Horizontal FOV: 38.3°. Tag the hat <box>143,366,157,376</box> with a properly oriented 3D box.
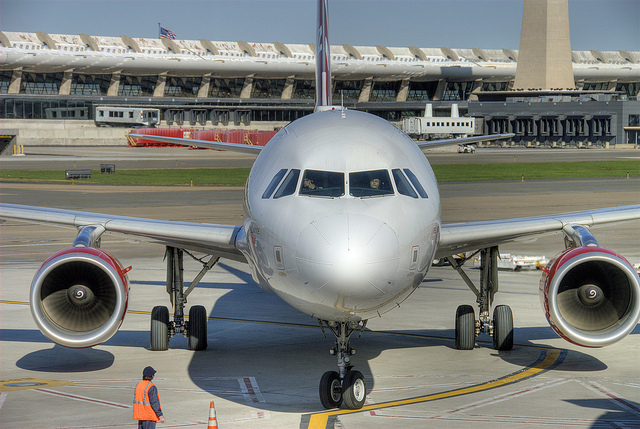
[{"bbox_3d":[-4.086,3.705,21.951,0.237,0.171,0.296,-1,11,-3],"label":"hat"}]

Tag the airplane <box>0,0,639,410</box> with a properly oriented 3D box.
[{"bbox_3d":[0.585,0.807,25.591,15.493,7.381,8.734,2,12,12],"label":"airplane"}]
